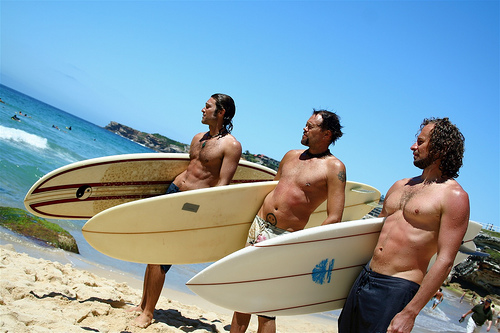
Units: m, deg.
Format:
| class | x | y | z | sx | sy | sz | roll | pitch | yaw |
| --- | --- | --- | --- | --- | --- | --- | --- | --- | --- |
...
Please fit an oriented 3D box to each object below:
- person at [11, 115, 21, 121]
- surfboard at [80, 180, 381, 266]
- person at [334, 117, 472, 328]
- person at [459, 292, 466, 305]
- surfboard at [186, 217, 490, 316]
| class | x | y | z | sx | sy | sz | roll | pitch | yaw |
| --- | --- | --- | --- | --- | --- | --- | --- | --- | --- |
| person | -14.136 | -2.866 | 20.893 | 0.414 | 0.250 | 0.782 | -15 | 39 | -37 |
| surfboard | -0.745 | 0.701 | 4.030 | 2.821 | 0.849 | 0.338 | -12 | -37 | 26 |
| person | 1.389 | 0.529 | 2.929 | 0.728 | 2.018 | 0.377 | 16 | -13 | 42 |
| person | 13.748 | 8.555 | 22.315 | 0.168 | 1.251 | 0.243 | 20 | -35 | 31 |
| surfboard | 1.075 | 0.724 | 3.637 | 3.493 | 0.968 | 0.387 | -8 | 22 | -8 |
